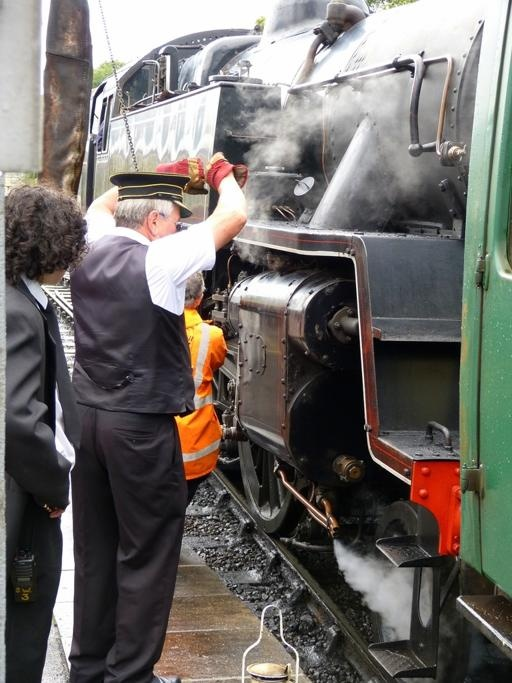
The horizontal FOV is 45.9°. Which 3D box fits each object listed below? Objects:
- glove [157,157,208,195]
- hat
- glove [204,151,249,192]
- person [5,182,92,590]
[{"bbox_3d":[-0.288,-0.718,2.659,0.258,0.217,0.112,4,14,-1],"label":"glove"},{"bbox_3d":[-0.390,-0.570,2.283,0.312,0.128,0.279,0,7,13],"label":"hat"},{"bbox_3d":[-0.123,-0.721,2.559,0.136,0.096,0.300,1,13,-8],"label":"glove"},{"bbox_3d":[-0.594,0.214,1.635,0.207,1.270,0.470,2,8,-13],"label":"person"}]
